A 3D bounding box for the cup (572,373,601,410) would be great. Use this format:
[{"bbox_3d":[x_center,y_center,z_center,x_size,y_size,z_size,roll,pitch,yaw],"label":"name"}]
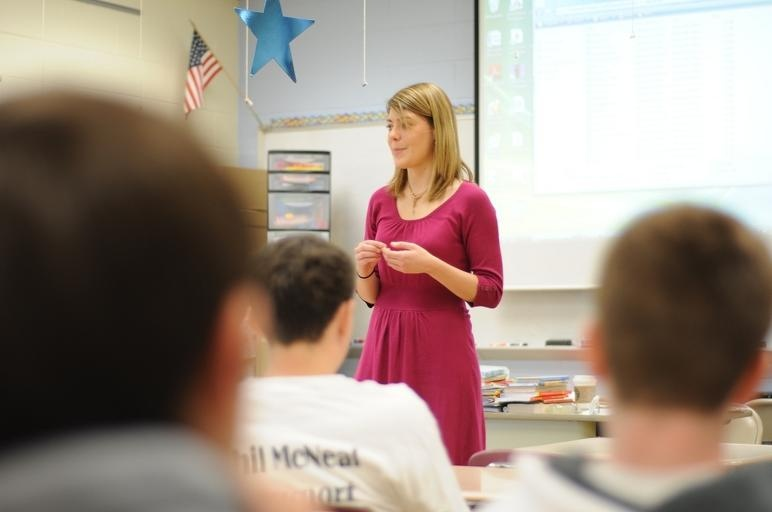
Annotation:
[{"bbox_3d":[0.208,0.142,0.660,0.023,0.036,0.022,0,-2,0],"label":"cup"}]
